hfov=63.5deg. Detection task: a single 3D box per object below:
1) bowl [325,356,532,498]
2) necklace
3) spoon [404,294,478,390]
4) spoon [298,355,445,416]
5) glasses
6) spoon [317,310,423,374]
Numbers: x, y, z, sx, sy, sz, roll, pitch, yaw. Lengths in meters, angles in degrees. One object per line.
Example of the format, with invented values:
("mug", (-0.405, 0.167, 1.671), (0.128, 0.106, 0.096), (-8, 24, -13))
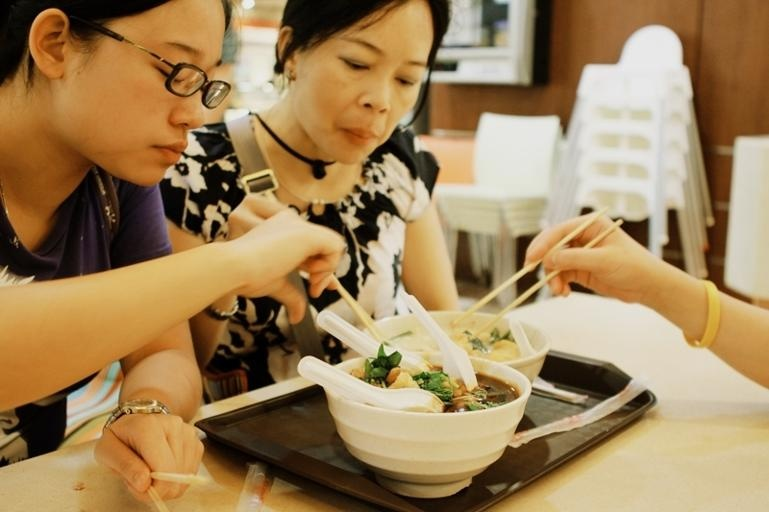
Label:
("bowl", (0.114, 0.321, 1.248), (0.281, 0.154, 0.279), (2, 3, 0))
("necklace", (-0.280, -0.362, 1.958), (0.218, 0.070, 0.294), (17, -24, 34))
("spoon", (0.138, 0.205, 1.445), (0.081, 0.076, 0.304), (-15, 47, -26))
("spoon", (-0.027, 0.269, 1.254), (0.341, 0.087, 0.094), (1, 7, 35))
("glasses", (-0.438, -0.398, 1.340), (0.157, 0.048, 0.156), (34, 2, 16))
("spoon", (-0.038, 0.218, 1.578), (0.286, 0.080, 0.070), (31, 33, 18))
